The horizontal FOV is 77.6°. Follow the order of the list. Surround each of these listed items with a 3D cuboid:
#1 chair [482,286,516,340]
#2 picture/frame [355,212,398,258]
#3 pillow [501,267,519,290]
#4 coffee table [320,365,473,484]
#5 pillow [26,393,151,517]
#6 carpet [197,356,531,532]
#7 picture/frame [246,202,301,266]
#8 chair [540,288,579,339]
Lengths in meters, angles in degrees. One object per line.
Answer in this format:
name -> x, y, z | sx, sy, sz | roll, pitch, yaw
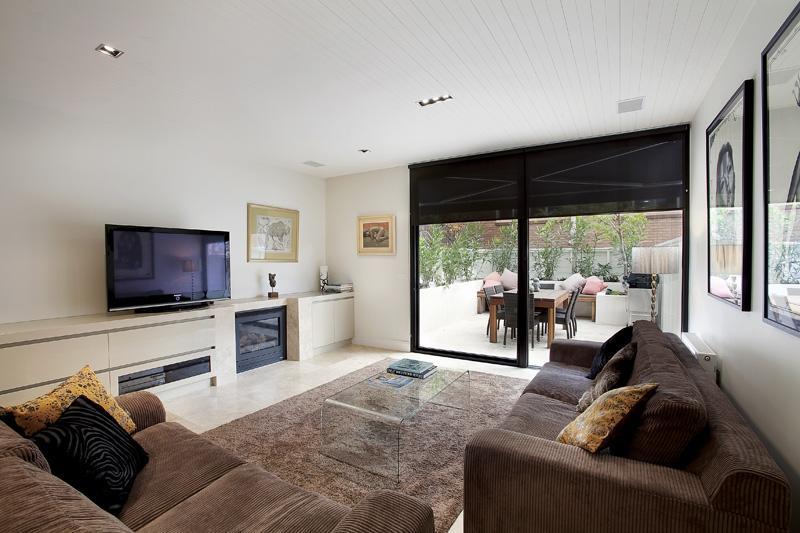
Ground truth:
chair -> 1.499, 0.699, 7.203 | 0.326, 0.403, 0.563 | -14, -8, -28
picture/frame -> -0.308, -0.461, 7.265 | 0.654, 0.588, 0.051 | 1, 2, 30
pillow -> 1.576, 0.198, 7.164 | 0.074, 0.244, 0.246 | -1, 19, -32
coffee table -> -0.119, 1.088, 4.369 | 0.659, 0.445, 1.326 | 1, 3, 28
pillow -> -1.931, 1.274, 3.338 | 0.684, 0.710, 0.213 | -19, 23, 33
carpet -> -0.422, 1.470, 4.342 | 1.219, 0.012, 1.783 | 4, 11, 32
picture/frame -> -1.765, -0.457, 6.953 | 0.050, 0.770, 0.908 | 3, 3, 34
chair -> 2.379, 0.627, 7.191 | 0.470, 0.549, 0.439 | 9, 6, 29
